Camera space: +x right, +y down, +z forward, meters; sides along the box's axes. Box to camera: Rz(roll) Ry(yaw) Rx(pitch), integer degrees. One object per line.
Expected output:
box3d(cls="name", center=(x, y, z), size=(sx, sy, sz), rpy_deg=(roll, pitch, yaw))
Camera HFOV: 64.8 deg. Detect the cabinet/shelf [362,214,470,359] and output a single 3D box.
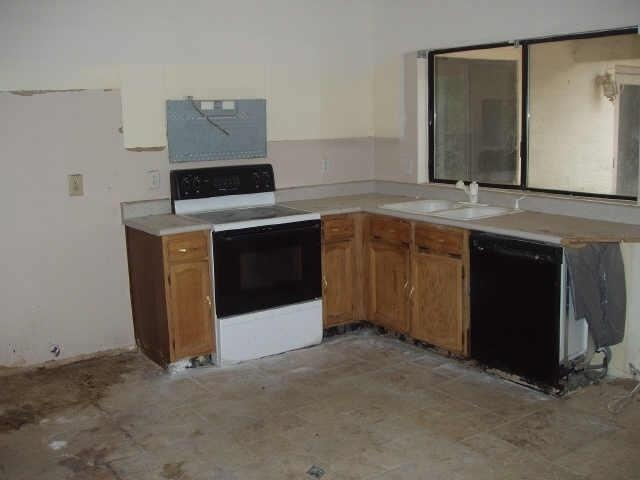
box3d(cls="cabinet/shelf", center=(0.741, 0.339, 3.751), size=(0.485, 0.886, 0.966), rpy_deg=(-7, 11, -37))
